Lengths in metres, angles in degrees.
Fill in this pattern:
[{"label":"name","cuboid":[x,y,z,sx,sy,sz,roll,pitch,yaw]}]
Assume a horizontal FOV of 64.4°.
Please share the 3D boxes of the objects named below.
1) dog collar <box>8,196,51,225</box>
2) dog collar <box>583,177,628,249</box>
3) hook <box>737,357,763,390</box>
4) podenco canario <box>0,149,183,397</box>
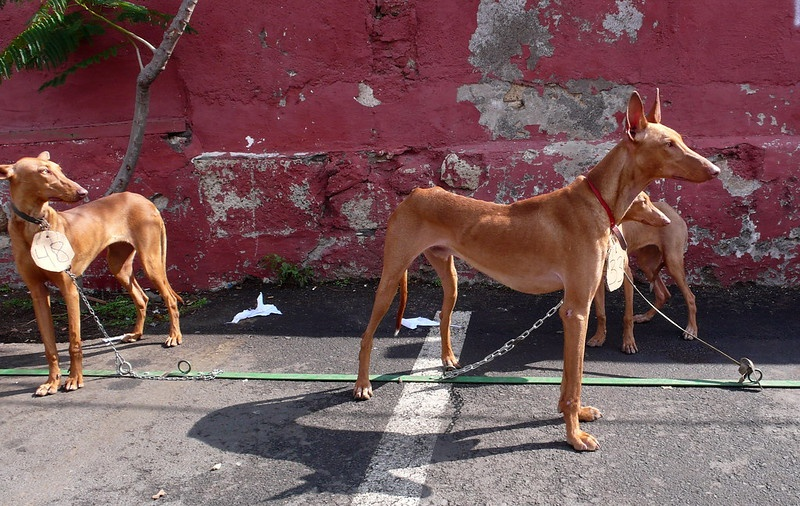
[{"label":"dog collar","cuboid":[-4.087,-0.473,7.042,0.258,0.072,0.320,15,-9,13]},{"label":"dog collar","cuboid":[1.993,-0.422,6.187,0.133,0.845,0.095,-36,-4,3]},{"label":"hook","cuboid":[3.756,1.251,6.763,0.246,0.308,0.239,7,17,26]},{"label":"podenco canario","cuboid":[-3.705,0.108,7.538,1.003,2.584,1.825,8,18,30]}]
